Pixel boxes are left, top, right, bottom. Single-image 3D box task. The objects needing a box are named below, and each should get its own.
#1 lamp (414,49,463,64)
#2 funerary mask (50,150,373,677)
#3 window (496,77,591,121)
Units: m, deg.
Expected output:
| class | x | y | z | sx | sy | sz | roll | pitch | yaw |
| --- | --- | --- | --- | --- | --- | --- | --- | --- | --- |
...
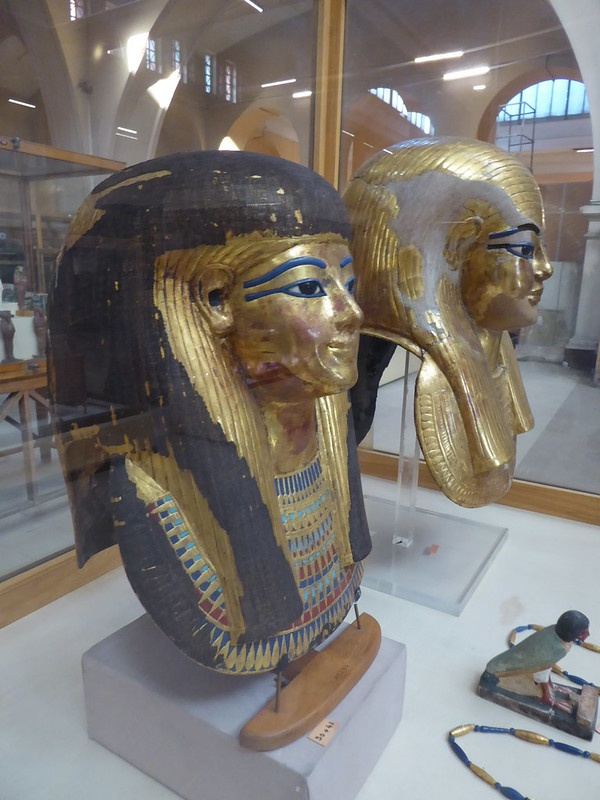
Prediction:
| class | x | y | z | sx | sy | sz | roll | pitch | yaw |
| --- | --- | --- | --- | --- | --- | --- | --- | --- | --- |
| lamp | 0.528 | -1.293 | 2.643 | 0.181 | 0.039 | 0.040 | -1 | 14 | 11 |
| funerary mask | -0.153 | 0.040 | 1.305 | 0.546 | 0.955 | 0.286 | -10 | 16 | -21 |
| window | 0.867 | -1.044 | 2.439 | 0.293 | 0.011 | 0.169 | -1 | 49 | 7 |
